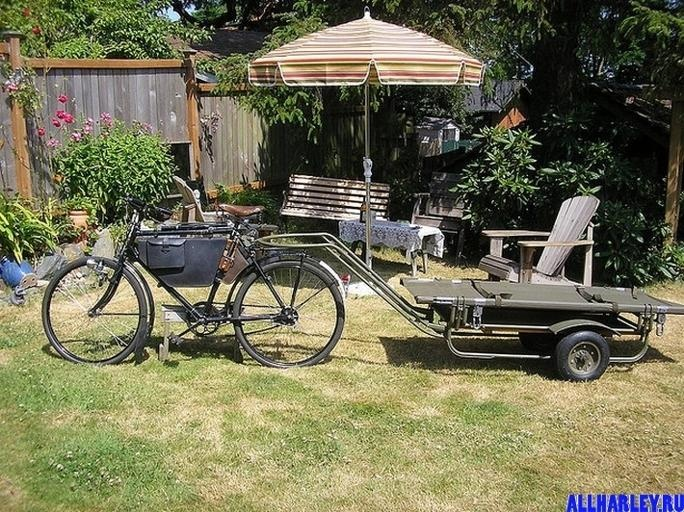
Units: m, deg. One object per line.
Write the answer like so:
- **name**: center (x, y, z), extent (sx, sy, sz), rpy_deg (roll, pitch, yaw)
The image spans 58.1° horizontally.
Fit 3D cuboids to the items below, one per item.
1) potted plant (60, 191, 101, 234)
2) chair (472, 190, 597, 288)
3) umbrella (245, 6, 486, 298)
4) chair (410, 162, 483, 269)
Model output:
- **potted plant**: center (-3.703, -0.642, 8.482), extent (0.471, 0.569, 0.483), rpy_deg (5, 0, 32)
- **chair**: center (2.409, -0.118, 7.469), extent (1.180, 1.255, 1.031), rpy_deg (-2, 9, -14)
- **umbrella**: center (0.268, -1.258, 8.113), extent (2.707, 3.564, 2.821), rpy_deg (0, 8, -1)
- **chair**: center (1.543, -0.606, 9.572), extent (1.038, 1.482, 1.140), rpy_deg (5, 2, 4)
